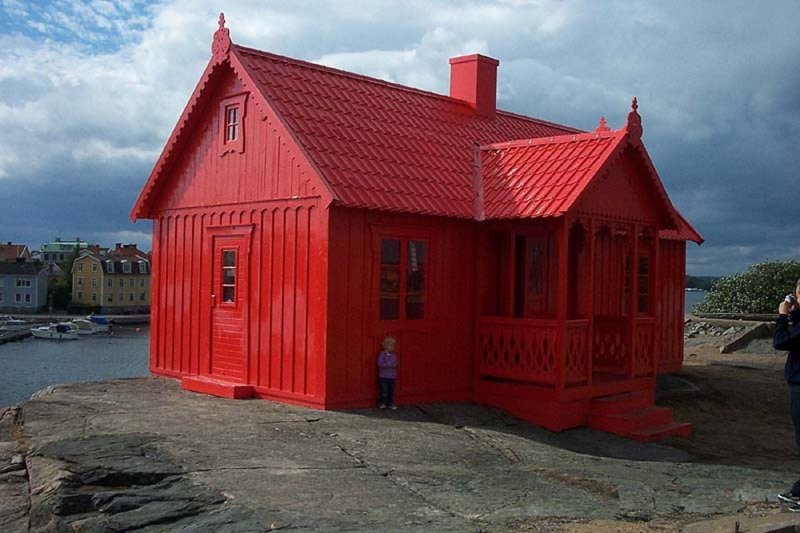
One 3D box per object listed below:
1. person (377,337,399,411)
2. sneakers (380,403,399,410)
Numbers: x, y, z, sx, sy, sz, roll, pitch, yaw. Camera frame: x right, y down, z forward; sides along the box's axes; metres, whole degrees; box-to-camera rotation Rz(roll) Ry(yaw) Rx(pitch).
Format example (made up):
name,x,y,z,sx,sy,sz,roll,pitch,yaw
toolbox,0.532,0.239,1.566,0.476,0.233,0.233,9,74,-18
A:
name,x,y,z,sx,sy,sz,roll,pitch,yaw
person,-0.233,2.201,14.632,0.513,1.443,0.411,5,5,-10
sneakers,-0.213,2.895,14.613,0.361,0.148,0.132,-2,-6,19
